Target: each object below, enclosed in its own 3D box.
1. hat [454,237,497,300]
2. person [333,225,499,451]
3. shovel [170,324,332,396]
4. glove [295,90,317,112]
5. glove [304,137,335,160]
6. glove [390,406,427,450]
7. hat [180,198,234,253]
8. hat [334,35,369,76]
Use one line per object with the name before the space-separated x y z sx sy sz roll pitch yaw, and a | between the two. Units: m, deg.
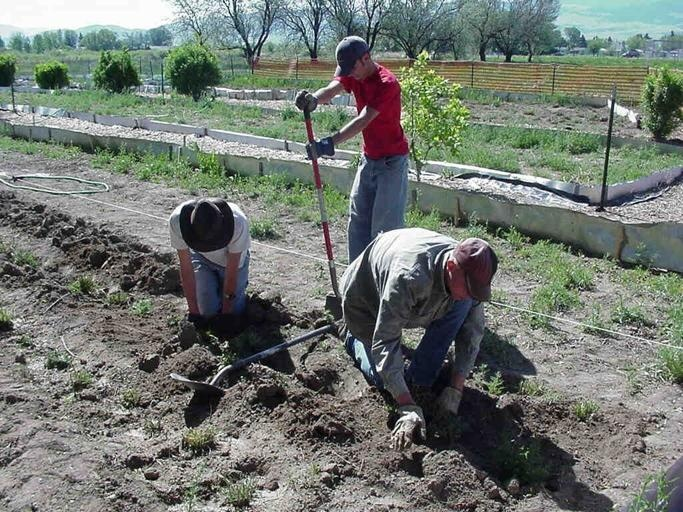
hat | 0.977 0.120 4.778 0.305 0.467 0.224 2 18 9
person | 0.600 0.744 5.264 0.851 1.368 1.211 -20 58 -17
shovel | -0.703 0.887 5.925 1.486 0.225 0.474 -23 19 -34
glove | -0.335 -1.508 6.299 0.211 0.199 0.238 -2 17 -4
glove | -0.198 -1.035 6.238 0.259 0.227 0.208 -1 17 0
glove | 0.526 1.335 4.937 0.270 0.109 0.355 2 47 20
hat | -1.193 -0.266 5.813 0.488 0.475 0.289 -5 18 -12
hat | 0.100 -1.866 6.064 0.281 0.361 0.210 1 17 6
